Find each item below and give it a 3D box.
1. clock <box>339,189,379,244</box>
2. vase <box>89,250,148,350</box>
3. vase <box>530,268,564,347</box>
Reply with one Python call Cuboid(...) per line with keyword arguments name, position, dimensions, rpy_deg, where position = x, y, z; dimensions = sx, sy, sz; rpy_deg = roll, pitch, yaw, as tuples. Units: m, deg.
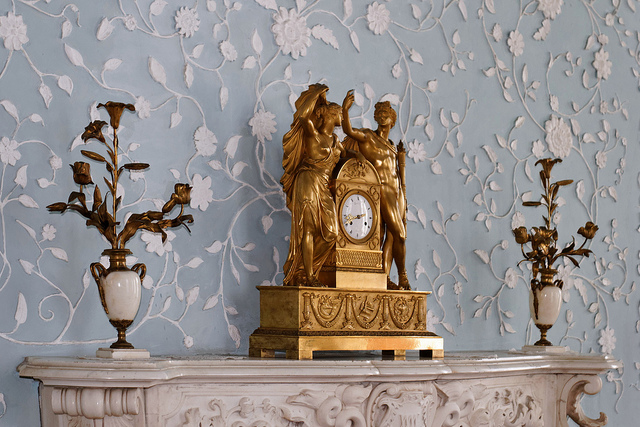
Cuboid(name="clock", position=(0.154, 0.006, 7.954), dimensions=(0.205, 0.258, 0.034), rpy_deg=(3, -7, -35))
Cuboid(name="vase", position=(-0.826, 0.350, 7.706), dimensions=(0.221, 0.409, 0.150), rpy_deg=(0, -14, 2))
Cuboid(name="vase", position=(0.992, 0.407, 8.361), dimensions=(0.139, 0.342, 0.204), rpy_deg=(-1, -7, 37))
